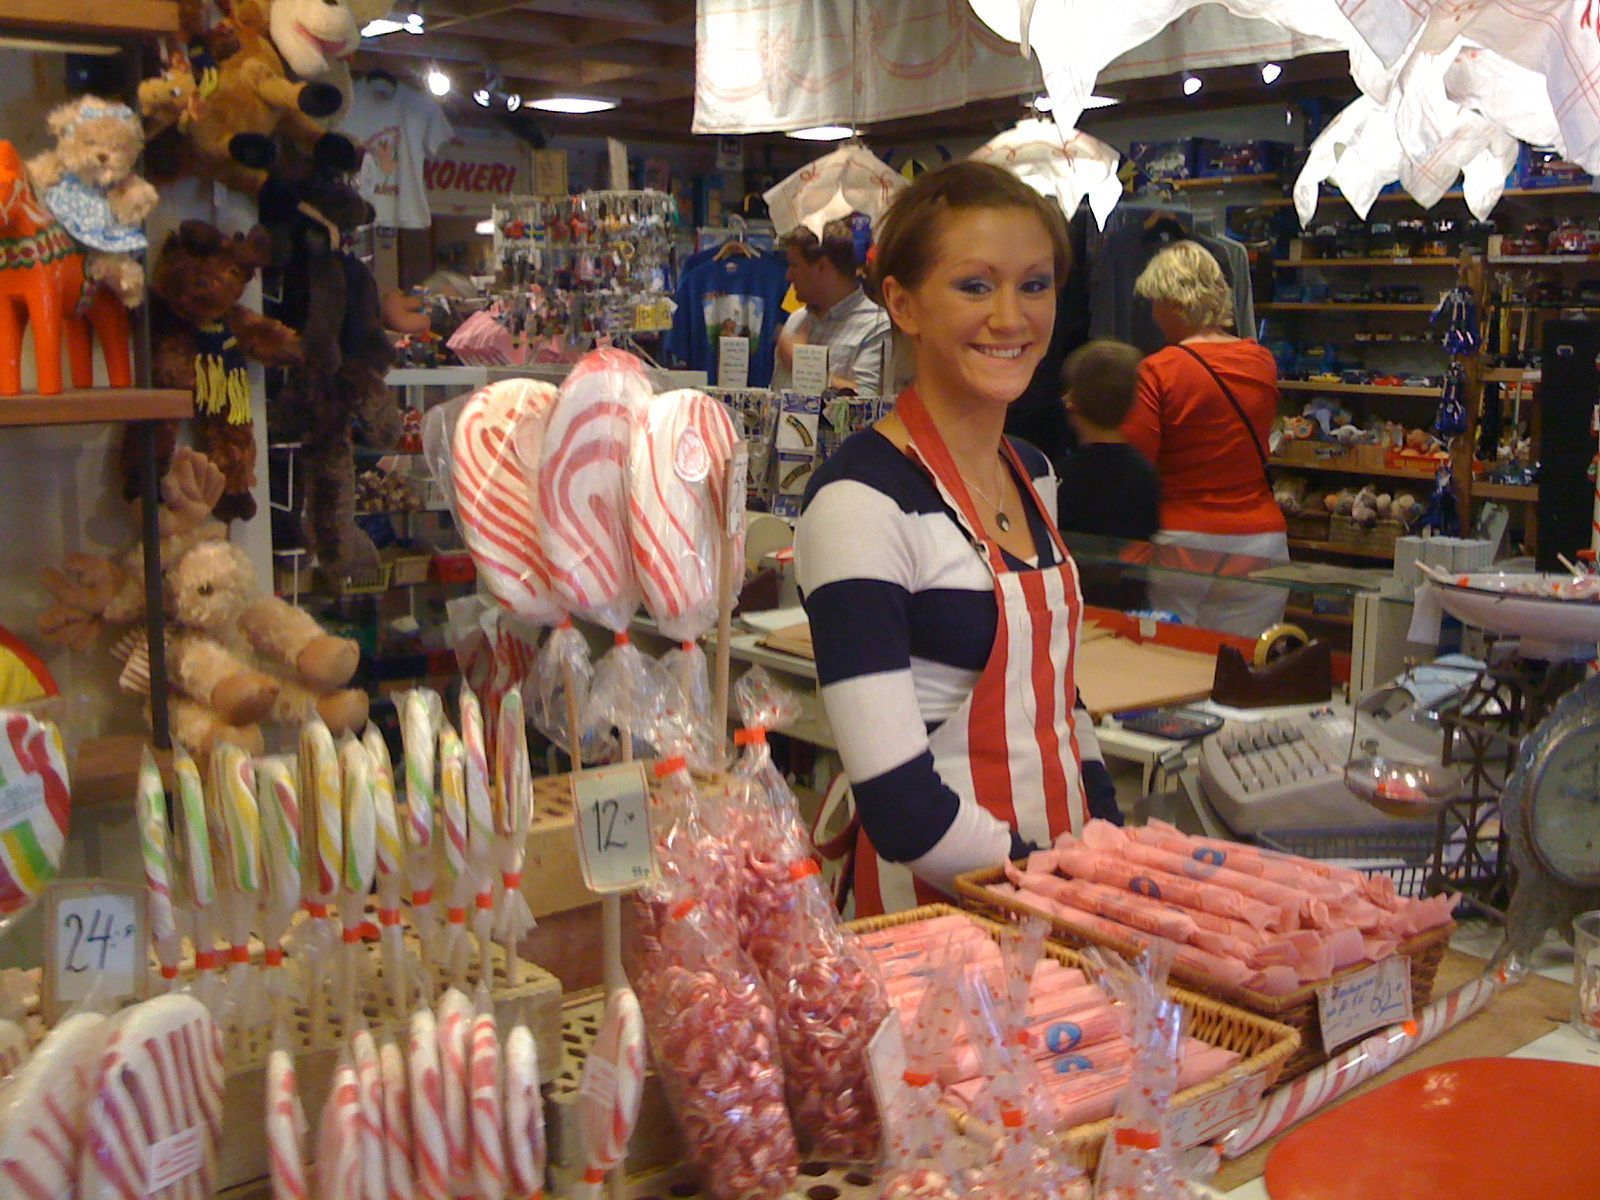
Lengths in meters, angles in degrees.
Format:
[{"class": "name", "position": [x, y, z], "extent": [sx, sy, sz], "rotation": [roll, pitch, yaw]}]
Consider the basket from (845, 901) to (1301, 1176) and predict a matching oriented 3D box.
[{"class": "basket", "position": [0.296, 0.462, 1.441], "extent": [0.262, 0.096, 0.393], "rotation": [1, 13, -44]}]

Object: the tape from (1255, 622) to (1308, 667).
[{"class": "tape", "position": [1.163, 0.110, 3.069], "extent": [0.108, 0.112, 0.025], "rotation": [34, -5, -23]}]

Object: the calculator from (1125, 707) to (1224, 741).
[{"class": "calculator", "position": [0.879, 0.289, 2.944], "extent": [0.236, 0.048, 0.200], "rotation": [-1, 4, -15]}]

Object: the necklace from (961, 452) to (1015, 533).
[{"class": "necklace", "position": [0.329, -0.166, 2.106], "extent": [0.083, 0.146, 0.029], "rotation": [-12, -8, -38]}]
